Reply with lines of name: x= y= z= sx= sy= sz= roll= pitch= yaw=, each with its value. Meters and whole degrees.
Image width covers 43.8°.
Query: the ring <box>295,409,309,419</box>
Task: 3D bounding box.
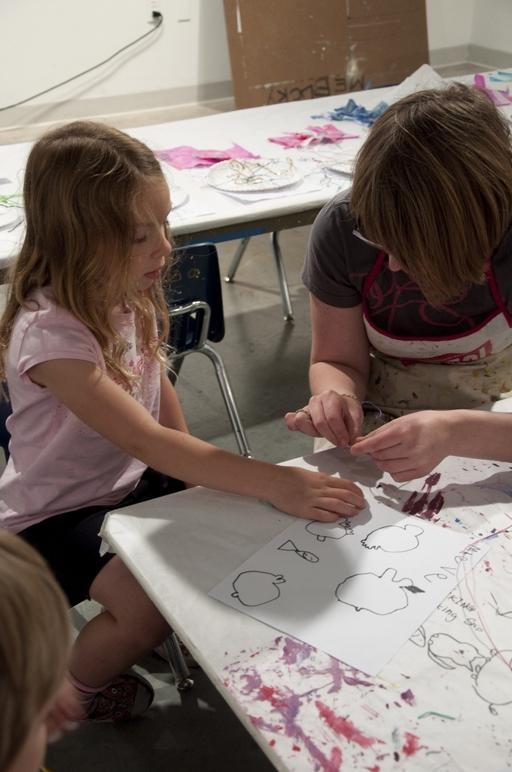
ring: x=0.075 y=0.043 z=1.046 sx=0.013 sy=0.016 sz=0.015 roll=-37 pitch=5 yaw=9

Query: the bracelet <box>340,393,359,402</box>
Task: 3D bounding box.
bracelet: x=0.166 y=0.019 z=1.117 sx=0.023 sy=0.007 sz=0.017 roll=27 pitch=13 yaw=30
